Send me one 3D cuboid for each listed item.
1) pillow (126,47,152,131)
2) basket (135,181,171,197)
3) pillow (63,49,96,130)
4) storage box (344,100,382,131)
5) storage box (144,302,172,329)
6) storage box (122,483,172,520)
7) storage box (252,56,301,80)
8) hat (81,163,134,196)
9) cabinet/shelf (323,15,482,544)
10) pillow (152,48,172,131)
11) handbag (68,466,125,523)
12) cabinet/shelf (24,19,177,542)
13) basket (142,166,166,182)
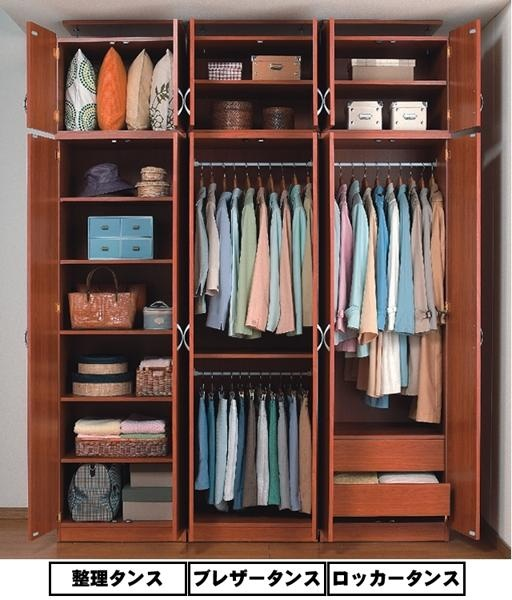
[{"bbox_3d":[-0.646,-1.149,3.608,0.124,0.423,0.396,1,-4,-7],"label":"pillow"},{"bbox_3d":[-0.574,-0.609,3.602,0.116,0.059,0.109,2,7,21],"label":"basket"},{"bbox_3d":[-0.973,-1.133,3.563,0.131,0.451,0.398,0,2,-5],"label":"pillow"},{"bbox_3d":[0.590,-0.980,3.540,0.146,0.133,0.161,1,6,11],"label":"storage box"},{"bbox_3d":[-0.549,0.083,3.611,0.128,0.149,0.143,0,0,-5],"label":"storage box"},{"bbox_3d":[-0.582,1.046,3.503,0.179,0.137,0.203,1,-3,-6],"label":"storage box"},{"bbox_3d":[0.104,-1.255,3.536,0.254,0.126,0.065,-3,8,-11],"label":"storage box"},{"bbox_3d":[-0.854,-0.661,3.655,0.196,0.135,0.236,-4,11,-1],"label":"hat"},{"bbox_3d":[0.794,-0.109,3.537,0.879,2.733,0.850,0,8,6],"label":"cabinet/shelf"},{"bbox_3d":[-0.515,-1.132,3.575,0.128,0.453,0.409,2,-2,-8],"label":"pillow"},{"bbox_3d":[-0.871,1.027,3.517,0.217,0.363,0.305,0,-10,-3],"label":"handbag"},{"bbox_3d":[-0.799,-0.117,3.560,0.829,2.731,0.841,-1,8,-6],"label":"cabinet/shelf"},{"bbox_3d":[-0.564,-0.683,3.618,0.093,0.061,0.095,-6,9,-40],"label":"basket"}]
